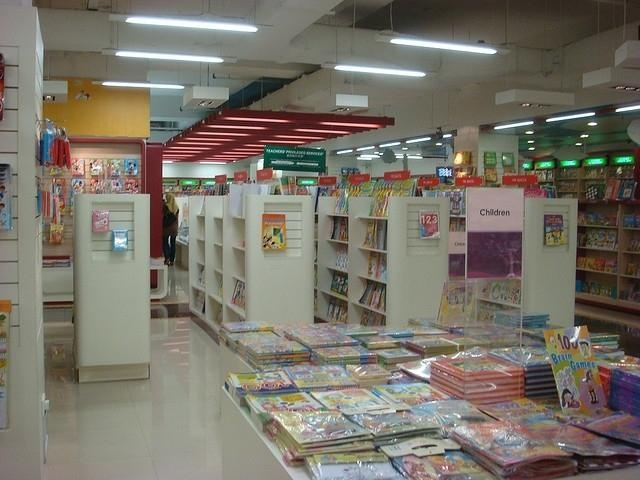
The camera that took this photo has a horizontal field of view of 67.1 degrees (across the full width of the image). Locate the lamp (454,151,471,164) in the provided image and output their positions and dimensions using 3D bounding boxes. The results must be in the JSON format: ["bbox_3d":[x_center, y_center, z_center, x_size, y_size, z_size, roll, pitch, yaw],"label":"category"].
[{"bbox_3d":[4.351,-2.530,14.701,0.161,0.396,0.687,-4,9,-23],"label":"lamp"}]
